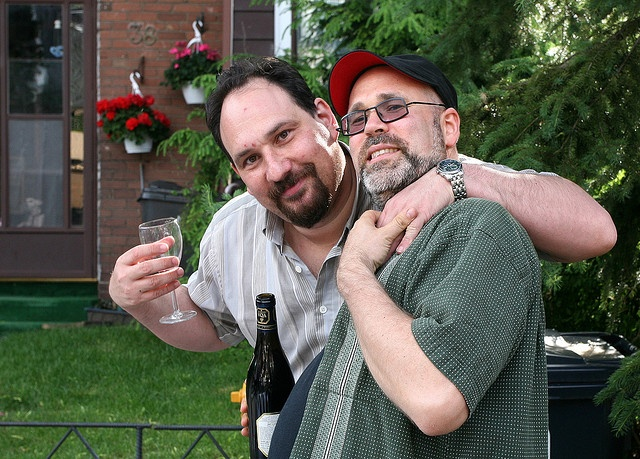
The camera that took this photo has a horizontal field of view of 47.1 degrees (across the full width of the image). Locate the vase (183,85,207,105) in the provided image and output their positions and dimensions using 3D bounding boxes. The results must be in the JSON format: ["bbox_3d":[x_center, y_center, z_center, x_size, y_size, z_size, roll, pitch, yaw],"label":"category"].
[{"bbox_3d":[-1.469,-1.561,8.488,0.226,0.173,0.230,-4,12,-15],"label":"vase"}]

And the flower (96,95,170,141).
[{"bbox_3d":[-2.199,-1.296,8.637,0.686,0.531,0.802,0,15,-36],"label":"flower"}]

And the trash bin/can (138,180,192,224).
[{"bbox_3d":[-1.778,-0.279,8.118,0.427,0.534,0.369,5,17,-27],"label":"trash bin/can"}]

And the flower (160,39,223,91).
[{"bbox_3d":[-1.523,-1.947,8.501,0.626,0.561,0.632,-8,-26,-22],"label":"flower"}]
